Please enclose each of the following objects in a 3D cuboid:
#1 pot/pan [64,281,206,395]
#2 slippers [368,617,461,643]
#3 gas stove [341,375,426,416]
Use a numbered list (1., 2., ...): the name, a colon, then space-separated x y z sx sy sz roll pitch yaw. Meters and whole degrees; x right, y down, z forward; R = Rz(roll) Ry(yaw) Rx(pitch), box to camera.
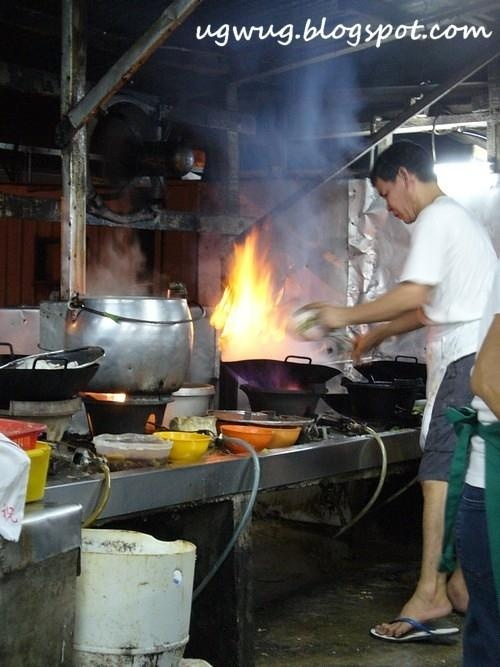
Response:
1. pot/pan: -0.360 0.017 2.141 0.418 0.241 0.405 2 -3 1
2. slippers: 0.510 0.972 2.102 0.333 0.083 0.111 2 -10 -9
3. gas stove: 0.622 0.303 3.048 0.223 0.110 0.285 4 2 45
